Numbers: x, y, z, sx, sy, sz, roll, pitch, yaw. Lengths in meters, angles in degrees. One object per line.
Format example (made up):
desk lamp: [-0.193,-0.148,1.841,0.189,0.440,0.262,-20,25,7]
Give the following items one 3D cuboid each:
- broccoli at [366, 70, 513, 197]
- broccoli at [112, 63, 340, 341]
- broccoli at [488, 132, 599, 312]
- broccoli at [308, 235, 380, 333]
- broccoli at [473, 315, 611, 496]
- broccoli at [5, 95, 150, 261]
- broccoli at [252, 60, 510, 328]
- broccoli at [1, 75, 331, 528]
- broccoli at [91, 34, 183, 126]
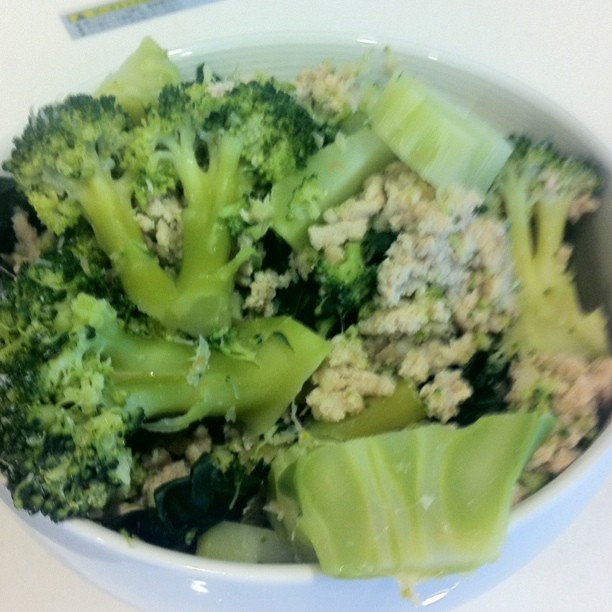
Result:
broccoli: [0.143,-0.156,0.777,0.141,0.114,0.053,41,97,-12]
broccoli: [-0.088,-0.131,0.815,0.204,0.140,0.318,8,76,11]
broccoli: [0.249,-0.117,0.813,0.134,0.185,0.063,-17,67,26]
broccoli: [0.039,-0.020,0.774,0.068,0.023,0.105,29,112,9]
broccoli: [0.262,0.091,0.805,0.120,0.062,0.228,19,88,-9]
broccoli: [-0.257,-0.154,0.840,0.130,0.103,0.204,-31,83,6]
broccoli: [0.083,-0.124,0.784,0.247,0.151,0.290,10,59,9]
broccoli: [-0.186,-0.044,0.924,0.316,0.223,0.543,2,92,-5]
broccoli: [-0.197,-0.252,0.855,0.100,0.029,0.094,-42,63,-4]
